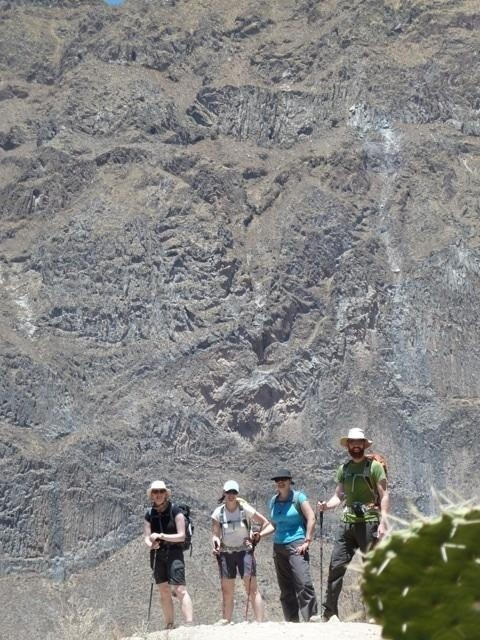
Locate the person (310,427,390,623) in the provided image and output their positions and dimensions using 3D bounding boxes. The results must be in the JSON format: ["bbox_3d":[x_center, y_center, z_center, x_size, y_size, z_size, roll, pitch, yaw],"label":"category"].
[{"bbox_3d":[2.059,3.672,24.055,1.414,3.375,0.627,-9,-10,34],"label":"person"}]

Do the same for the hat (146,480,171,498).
[{"bbox_3d":[-1.470,3.130,24.639,0.379,0.185,0.464,1,15,-3],"label":"hat"}]

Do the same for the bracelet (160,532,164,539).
[{"bbox_3d":[-1.376,3.929,24.352,0.080,0.102,0.101,-3,-8,-4],"label":"bracelet"}]

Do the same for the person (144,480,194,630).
[{"bbox_3d":[-1.239,4.283,24.502,0.846,2.658,0.627,-3,-8,-4],"label":"person"}]

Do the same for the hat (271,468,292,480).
[{"bbox_3d":[0.786,2.869,24.634,0.333,0.223,0.275,-4,-8,6],"label":"hat"}]

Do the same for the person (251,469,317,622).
[{"bbox_3d":[0.975,4.155,24.635,0.872,2.758,0.875,-3,-8,0],"label":"person"}]
